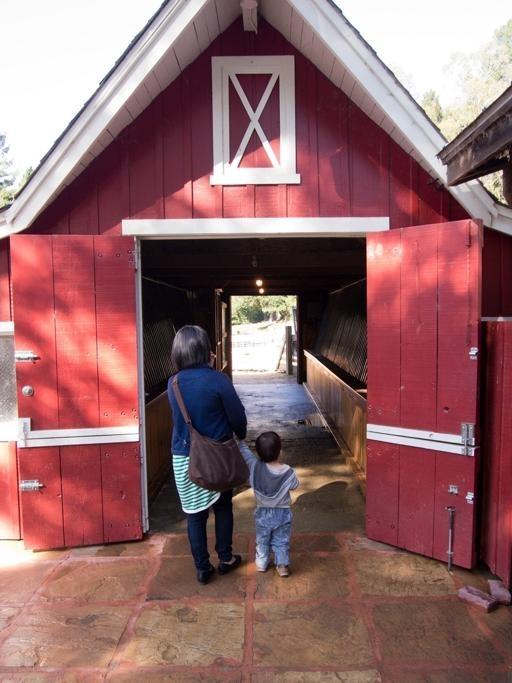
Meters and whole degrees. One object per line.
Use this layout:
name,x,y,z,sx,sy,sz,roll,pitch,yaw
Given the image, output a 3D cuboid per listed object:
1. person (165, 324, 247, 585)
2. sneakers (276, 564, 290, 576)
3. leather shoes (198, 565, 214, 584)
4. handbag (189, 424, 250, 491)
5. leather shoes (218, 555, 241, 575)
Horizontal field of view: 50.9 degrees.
person,-0.277,0.686,3.346,0.482,1.537,0.449,-5,4,-20
sneakers,0.172,1.440,3.385,0.039,0.049,0.111,1,-11,-7
leather shoes,-0.311,1.447,3.359,0.052,0.068,0.154,1,4,6
handbag,-0.229,0.673,3.130,0.349,0.480,0.137,-6,-16,-30
leather shoes,-0.164,1.430,3.485,0.064,0.079,0.178,3,7,19
